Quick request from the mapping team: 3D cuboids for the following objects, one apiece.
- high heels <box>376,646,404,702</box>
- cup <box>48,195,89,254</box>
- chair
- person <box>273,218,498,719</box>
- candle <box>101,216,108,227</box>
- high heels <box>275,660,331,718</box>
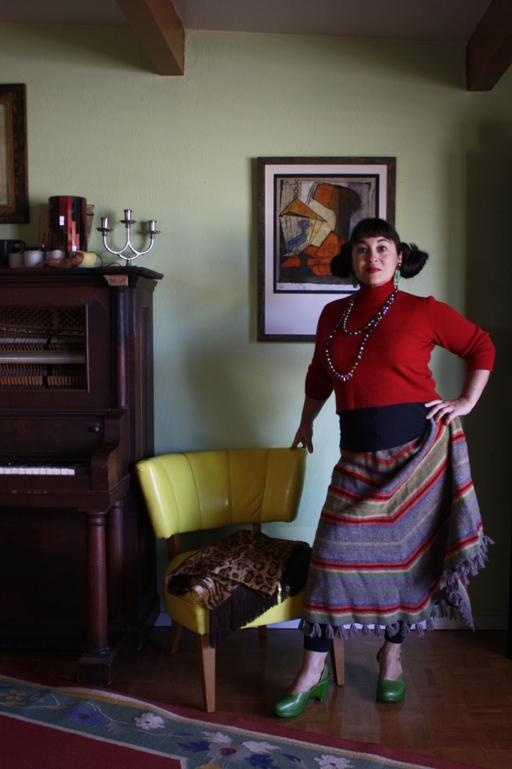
[{"bbox_3d":[0.458,0.969,2.159,0.084,0.055,0.219,-12,3,15],"label":"high heels"},{"bbox_3d":[-0.739,-0.626,2.558,0.150,0.218,0.140,2,7,0],"label":"cup"},{"bbox_3d":[-0.050,0.624,2.313,0.672,0.723,0.590,-2,2,-34],"label":"chair"},{"bbox_3d":[0.407,0.250,2.037,0.608,1.520,0.348,1,0,18],"label":"person"},{"bbox_3d":[-0.589,-0.635,2.552,0.023,0.042,0.084,1,0,-13],"label":"candle"},{"bbox_3d":[0.170,0.964,2.042,0.078,0.121,0.231,-9,-16,43],"label":"high heels"}]
